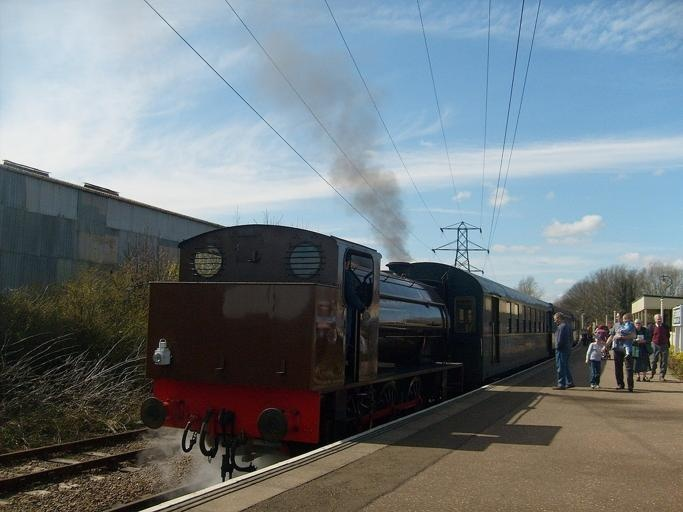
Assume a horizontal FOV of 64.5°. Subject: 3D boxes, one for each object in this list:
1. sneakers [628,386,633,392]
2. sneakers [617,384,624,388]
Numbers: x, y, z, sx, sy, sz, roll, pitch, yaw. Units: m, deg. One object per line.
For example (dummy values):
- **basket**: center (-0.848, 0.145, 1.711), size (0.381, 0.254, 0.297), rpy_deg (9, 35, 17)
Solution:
- **sneakers**: center (7.533, 3.501, 14.138), size (0.110, 0.095, 0.165), rpy_deg (0, -7, 21)
- **sneakers**: center (7.481, 3.500, 14.469), size (0.240, 0.104, 0.074), rpy_deg (9, -13, -19)
